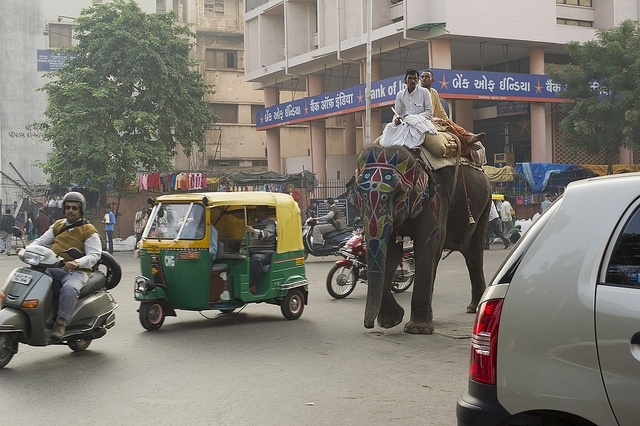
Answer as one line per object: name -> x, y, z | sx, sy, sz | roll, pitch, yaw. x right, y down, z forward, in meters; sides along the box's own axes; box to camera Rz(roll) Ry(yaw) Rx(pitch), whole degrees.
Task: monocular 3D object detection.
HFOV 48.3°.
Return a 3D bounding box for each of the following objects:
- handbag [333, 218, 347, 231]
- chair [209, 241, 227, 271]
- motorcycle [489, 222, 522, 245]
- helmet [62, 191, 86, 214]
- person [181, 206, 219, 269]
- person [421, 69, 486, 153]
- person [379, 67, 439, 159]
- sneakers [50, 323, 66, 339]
handbag -> 0.548, 0.293, 20.334 | 0.390, 0.379, 0.273 | 8, -4, -16
chair -> -1.676, 0.690, 11.737 | 0.400, 0.467, 0.352 | 4, 1, 34
motorcycle -> 7.129, 0.769, 27.102 | 1.374, 0.863, 0.778 | -3, -4, 24
helmet -> -3.494, -0.195, 10.104 | 0.278, 0.272, 0.325 | 0, -26, -6
person -> -1.949, 0.293, 11.521 | 0.686, 0.921, 0.426 | -2, 6, -13
person -> 2.251, -1.727, 12.268 | 1.564, 0.942, 0.719 | 32, 32, 31
person -> 1.432, -1.717, 11.614 | 1.000, 1.267, 0.810 | -9, 12, -33
sneakers -> -3.489, 1.567, 9.491 | 0.189, 0.210, 0.149 | -4, 6, -32
